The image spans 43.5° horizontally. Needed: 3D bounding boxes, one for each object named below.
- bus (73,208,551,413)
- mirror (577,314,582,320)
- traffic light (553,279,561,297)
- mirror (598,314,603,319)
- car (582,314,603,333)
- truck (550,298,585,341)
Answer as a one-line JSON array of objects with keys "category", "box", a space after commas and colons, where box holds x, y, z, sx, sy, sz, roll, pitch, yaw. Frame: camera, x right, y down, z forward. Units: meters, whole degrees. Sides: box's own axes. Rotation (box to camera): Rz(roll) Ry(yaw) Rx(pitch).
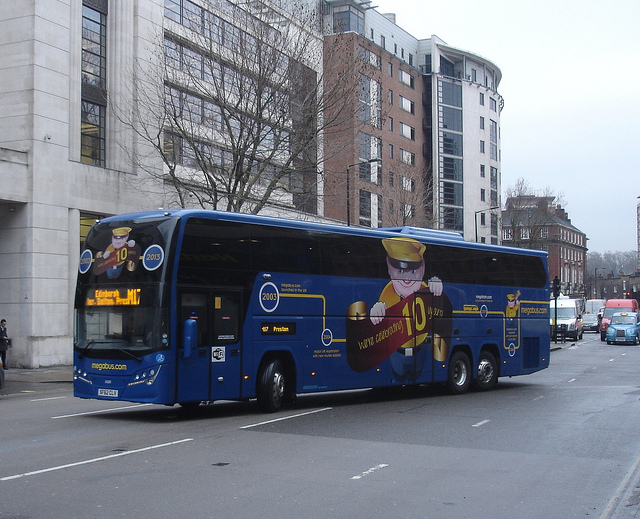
[{"category": "bus", "box": [1.064, 1.251, 20.625, 12.545, 4.286, 3.081, 3, -7, -37]}, {"category": "mirror", "box": [19.825, 4.324, 61.049, 0.118, 0.291, 4.209, 4, 0, 21]}, {"category": "traffic light", "box": [13.542, 1.585, 45.800, 0.330, 0.790, 2.124, 3, 0, 14]}, {"category": "mirror", "box": [22.916, 4.595, 65.404, 0.069, 0.340, 0.301, 5, -3, -27]}, {"category": "car", "box": [24.612, 5.663, 72.323, 1.303, 1.222, 2.308, -4, -15, 20]}, {"category": "truck", "box": [18.611, 4.491, 60.391, 2.428, 3.578, 6.722, -4, -5, 25]}]
